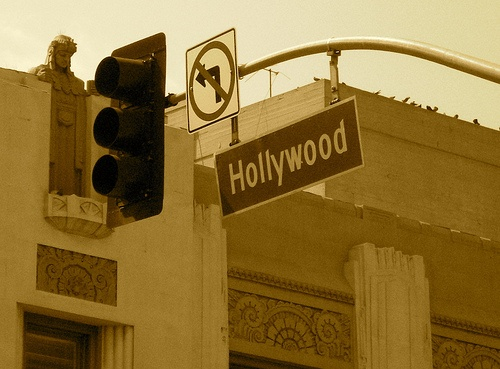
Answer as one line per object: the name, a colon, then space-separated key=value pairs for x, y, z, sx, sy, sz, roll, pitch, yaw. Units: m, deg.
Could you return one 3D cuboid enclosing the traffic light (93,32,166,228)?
traffic light: x=-1.801 y=-0.783 z=23.000 sx=1.110 sy=2.558 sz=1.380 roll=5 pitch=-29 yaw=-4
